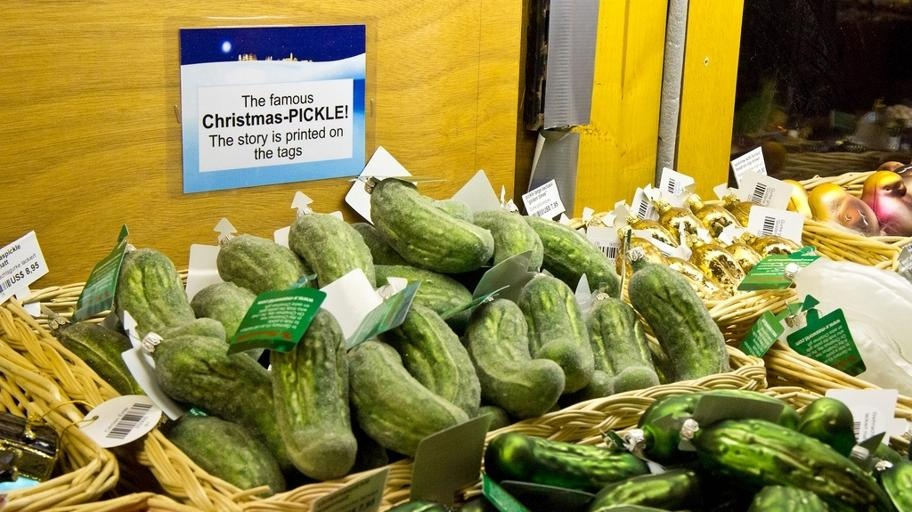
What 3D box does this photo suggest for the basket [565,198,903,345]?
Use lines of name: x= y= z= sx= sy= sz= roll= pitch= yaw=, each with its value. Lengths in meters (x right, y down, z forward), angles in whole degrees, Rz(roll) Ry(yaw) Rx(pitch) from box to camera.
basket: x=1.038 y=0.068 z=2.046 sx=0.812 sy=0.267 sz=0.616 roll=13 pitch=25 yaw=38
